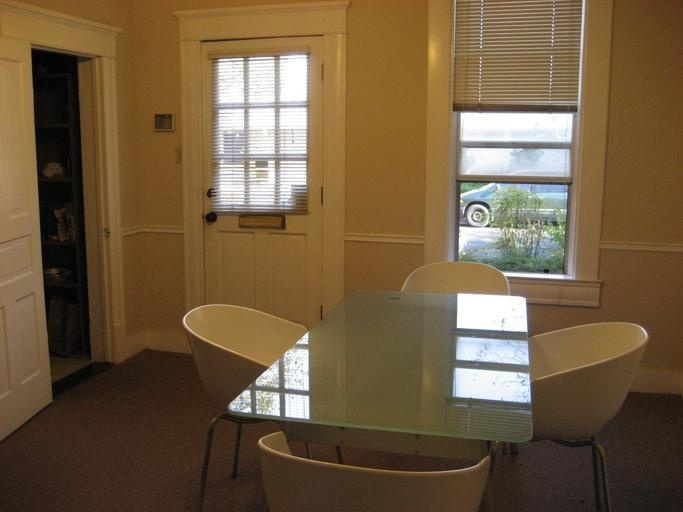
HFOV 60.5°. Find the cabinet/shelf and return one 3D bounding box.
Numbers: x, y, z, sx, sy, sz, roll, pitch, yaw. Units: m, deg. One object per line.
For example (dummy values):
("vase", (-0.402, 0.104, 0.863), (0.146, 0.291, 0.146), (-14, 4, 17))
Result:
("cabinet/shelf", (-2.299, -0.340, 4.816), (0.418, 2.225, 0.675), (-7, 16, -25))
